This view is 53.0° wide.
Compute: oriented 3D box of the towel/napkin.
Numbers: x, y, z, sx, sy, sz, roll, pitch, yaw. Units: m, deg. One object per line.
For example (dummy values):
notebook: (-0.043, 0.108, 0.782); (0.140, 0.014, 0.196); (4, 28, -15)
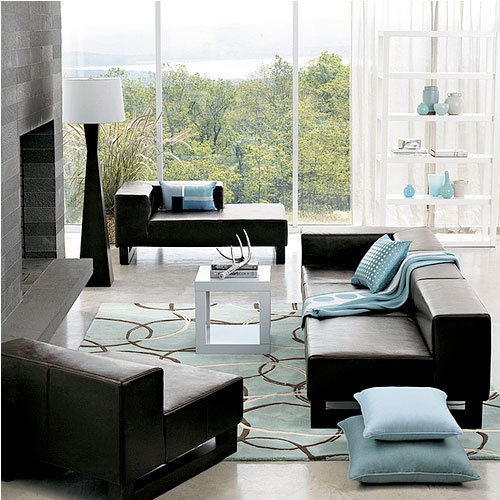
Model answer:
towel/napkin: (0.798, 0.252, 3.004); (0.805, 0.306, 0.479); (-3, 11, 4)

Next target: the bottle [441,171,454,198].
bottle: (2.445, -0.803, 6.181); (0.133, 0.332, 0.211); (2, 10, 20)

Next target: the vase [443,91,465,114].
vase: (2.459, -1.779, 6.055); (0.245, 0.291, 0.239); (-2, 14, 4)

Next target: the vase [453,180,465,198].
vase: (2.606, -0.758, 6.229); (0.115, 0.211, 0.207); (7, 13, 39)

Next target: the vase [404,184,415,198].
vase: (1.971, -0.738, 6.315); (0.166, 0.187, 0.159); (-7, 11, -31)

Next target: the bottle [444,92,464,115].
bottle: (2.466, -1.763, 6.057); (0.250, 0.297, 0.242); (-3, 15, -2)

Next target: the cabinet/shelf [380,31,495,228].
cabinet/shelf: (2.371, -1.432, 6.326); (1.472, 2.548, 0.942); (1, 10, 12)

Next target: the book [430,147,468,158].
book: (2.446, -1.181, 6.171); (0.442, 0.100, 0.223); (0, 10, 9)

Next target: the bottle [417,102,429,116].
bottle: (2.106, -1.732, 6.156); (0.157, 0.196, 0.159); (6, 19, 20)

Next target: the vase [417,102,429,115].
vase: (2.113, -1.728, 6.139); (0.148, 0.144, 0.147); (5, 24, 25)

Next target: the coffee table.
coffee table: (-0.096, 0.382, 3.567); (0.561, 0.476, 0.572); (0, 7, 1)

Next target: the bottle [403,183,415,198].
bottle: (1.985, -0.733, 6.229); (0.158, 0.178, 0.151); (-7, 11, -31)

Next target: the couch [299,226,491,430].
couch: (0.818, 0.336, 3.149); (0.957, 0.764, 1.936); (0, 10, 5)

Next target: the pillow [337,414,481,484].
pillow: (0.615, 0.781, 2.024); (0.484, 0.133, 0.393); (-1, 10, 1)

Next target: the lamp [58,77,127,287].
lamp: (-1.396, -0.603, 4.687); (0.553, 1.941, 0.369); (-8, 12, -31)

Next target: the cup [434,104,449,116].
cup: (2.315, -1.693, 6.096); (0.169, 0.123, 0.159); (-2, 12, 0)
